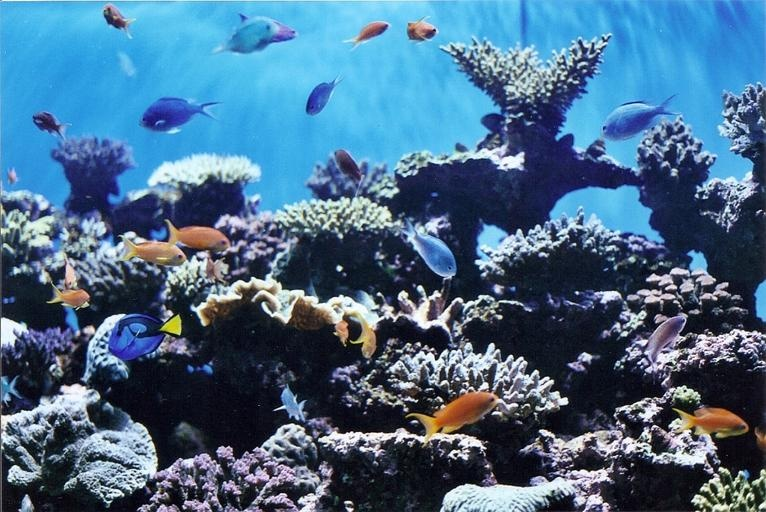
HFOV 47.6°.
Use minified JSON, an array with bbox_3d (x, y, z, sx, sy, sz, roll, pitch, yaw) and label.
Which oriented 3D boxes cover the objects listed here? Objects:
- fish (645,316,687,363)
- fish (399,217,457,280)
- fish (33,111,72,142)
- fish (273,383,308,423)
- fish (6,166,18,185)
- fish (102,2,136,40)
[{"bbox_3d":[3.440,1.021,10.550,0.214,0.575,0.113,10,34,-36],"label":"fish"},{"bbox_3d":[0.557,-0.109,10.408,0.570,0.705,0.184,1,24,27],"label":"fish"},{"bbox_3d":[-4.128,-1.627,10.825,0.329,0.354,0.249,-19,23,-18],"label":"fish"},{"bbox_3d":[-1.058,1.837,10.577,0.344,0.512,0.269,18,67,37],"label":"fish"},{"bbox_3d":[-5.216,-1.115,12.265,0.135,0.171,0.072,-2,5,-43],"label":"fish"},{"bbox_3d":[-3.317,-2.936,11.029,0.251,0.336,0.536,29,1,5],"label":"fish"}]
